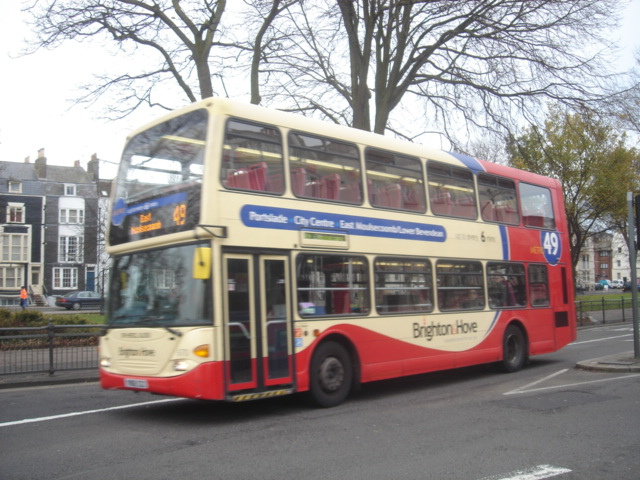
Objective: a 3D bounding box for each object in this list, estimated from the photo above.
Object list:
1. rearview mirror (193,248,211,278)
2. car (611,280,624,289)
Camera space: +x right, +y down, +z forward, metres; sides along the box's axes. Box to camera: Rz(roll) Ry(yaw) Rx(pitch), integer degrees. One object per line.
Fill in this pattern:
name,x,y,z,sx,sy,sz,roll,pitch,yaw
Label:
rearview mirror,-1.803,0.381,8.208,0.422,0.481,0.378,3,-1,-19
car,60.705,9.137,104.964,2.507,1.684,3.695,2,2,27
